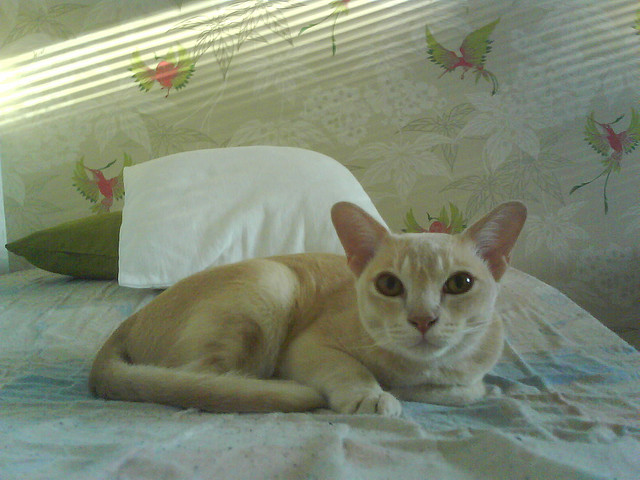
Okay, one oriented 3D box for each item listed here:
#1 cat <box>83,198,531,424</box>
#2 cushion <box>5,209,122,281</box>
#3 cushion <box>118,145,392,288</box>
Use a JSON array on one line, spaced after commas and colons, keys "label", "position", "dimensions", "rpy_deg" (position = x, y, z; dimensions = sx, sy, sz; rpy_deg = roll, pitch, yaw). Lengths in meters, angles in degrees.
[{"label": "cat", "position": [-0.024, 0.131, 1.780], "dimensions": [0.875, 0.433, 0.623], "rpy_deg": [-8, -12, 31]}, {"label": "cushion", "position": [-0.855, 0.023, 2.412], "dimensions": [0.301, 0.098, 0.293], "rpy_deg": [-2, 7, 19]}, {"label": "cushion", "position": [-0.286, 0.008, 2.325], "dimensions": [0.623, 0.194, 0.552], "rpy_deg": [-7, 39, -6]}]
